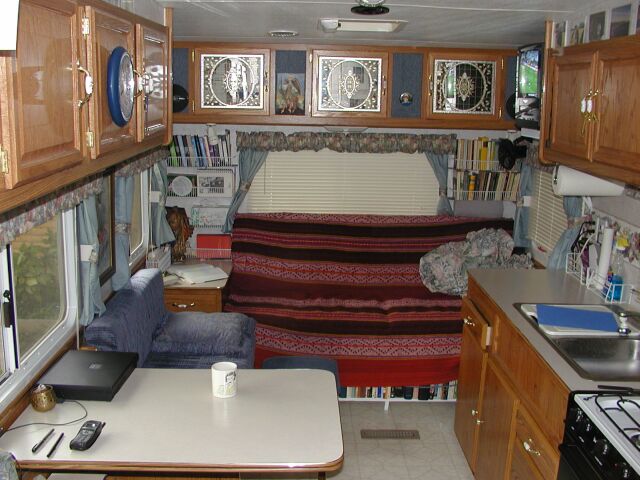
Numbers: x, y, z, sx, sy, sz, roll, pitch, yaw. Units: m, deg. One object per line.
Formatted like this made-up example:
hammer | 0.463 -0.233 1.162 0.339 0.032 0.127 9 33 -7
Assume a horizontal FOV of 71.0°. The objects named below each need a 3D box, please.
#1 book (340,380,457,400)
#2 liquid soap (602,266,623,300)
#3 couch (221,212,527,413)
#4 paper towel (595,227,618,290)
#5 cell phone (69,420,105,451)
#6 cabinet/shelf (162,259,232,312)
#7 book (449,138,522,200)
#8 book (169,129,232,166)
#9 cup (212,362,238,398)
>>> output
book | 0.726 1.394 4.353 1.209 0.177 0.270 0 -4 1
liquid soap | 1.993 0.295 3.066 0.094 0.158 0.172 1 21 12
couch | 0.358 0.648 4.683 2.437 1.161 1.251 5 30 -24
paper towel | 1.998 0.095 3.170 0.087 0.370 0.087 13 -4 -5
cell phone | -1.024 0.858 1.990 0.086 0.049 0.167 11 13 -3
cabinet/shelf | -1.190 0.466 4.631 0.381 0.365 0.600 1 8 -1
book | 1.927 -0.823 5.146 0.693 0.614 0.352 0 9 5
book | -1.369 -1.064 5.095 0.580 0.270 0.291 0 11 -7
cup | -0.475 0.707 2.321 0.150 0.164 0.157 0 7 0
